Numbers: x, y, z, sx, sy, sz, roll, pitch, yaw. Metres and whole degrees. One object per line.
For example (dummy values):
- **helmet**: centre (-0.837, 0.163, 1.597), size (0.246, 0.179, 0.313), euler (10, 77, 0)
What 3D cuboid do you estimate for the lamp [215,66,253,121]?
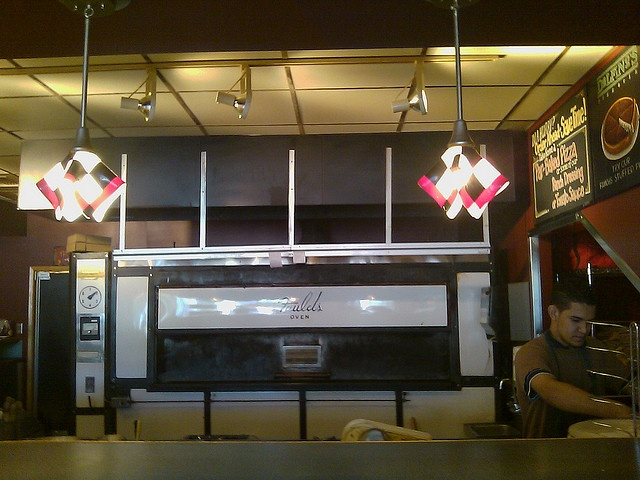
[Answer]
- **lamp**: centre (-0.665, -1.109, 5.729), size (0.263, 0.388, 0.596), euler (-1, -9, -4)

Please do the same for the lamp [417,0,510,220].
- **lamp**: centre (0.797, -0.754, 4.319), size (0.545, 1.152, 1.151), euler (-5, -10, 20)

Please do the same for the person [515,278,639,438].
- **person**: centre (1.471, 0.687, 4.216), size (0.659, 0.935, 0.684), euler (-4, -10, 16)
